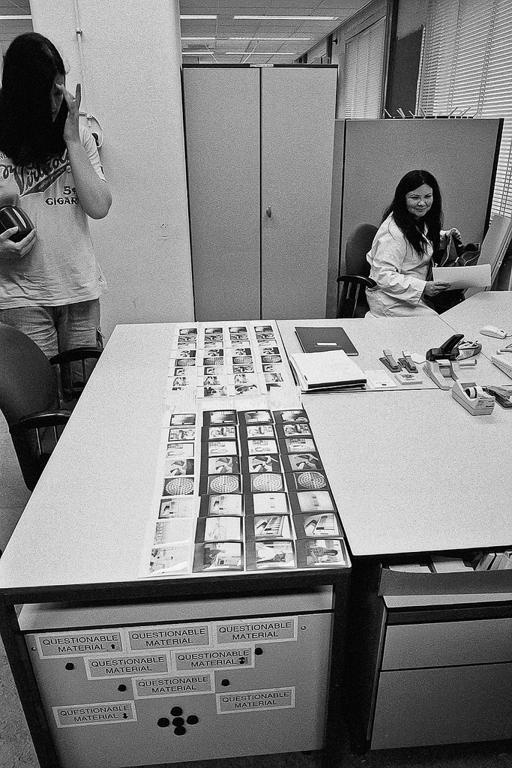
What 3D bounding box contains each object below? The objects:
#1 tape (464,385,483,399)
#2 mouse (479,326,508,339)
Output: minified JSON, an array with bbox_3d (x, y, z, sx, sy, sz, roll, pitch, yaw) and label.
[{"bbox_3d":[0.600,0.016,1.373,0.027,0.019,0.042,4,20,5],"label":"tape"},{"bbox_3d":[0.931,-0.201,1.962,0.051,0.029,0.091,-7,22,-17],"label":"mouse"}]
